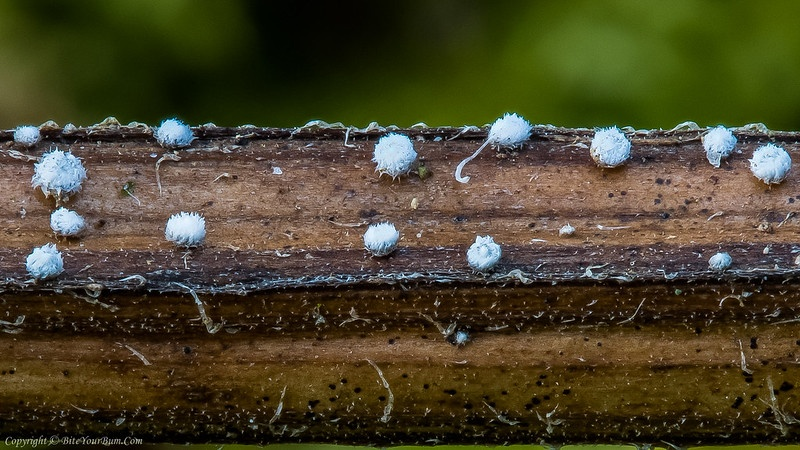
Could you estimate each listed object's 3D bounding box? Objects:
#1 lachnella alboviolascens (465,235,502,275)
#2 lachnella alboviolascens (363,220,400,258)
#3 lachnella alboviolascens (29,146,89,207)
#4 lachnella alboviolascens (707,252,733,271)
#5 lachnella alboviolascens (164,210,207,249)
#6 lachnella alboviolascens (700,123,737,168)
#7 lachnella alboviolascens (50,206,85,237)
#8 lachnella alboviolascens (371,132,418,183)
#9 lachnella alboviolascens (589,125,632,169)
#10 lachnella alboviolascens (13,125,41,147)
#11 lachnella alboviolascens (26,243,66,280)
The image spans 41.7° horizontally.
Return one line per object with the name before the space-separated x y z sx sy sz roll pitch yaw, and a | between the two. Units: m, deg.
lachnella alboviolascens | 0.140 0.045 1.756 0.068 0.056 0.026 3 -28 0
lachnella alboviolascens | -0.033 0.023 1.755 0.066 0.053 0.031 -12 -31 -9
lachnella alboviolascens | -0.587 -0.089 1.801 0.106 0.041 0.104 25 24 -15
lachnella alboviolascens | 0.533 0.061 1.752 0.040 0.029 0.013 3 9 8
lachnella alboviolascens | -0.366 -0.002 1.776 0.076 0.023 0.062 -7 42 -2
lachnella alboviolascens | 0.545 -0.133 1.793 0.062 0.069 0.026 -1 10 -18
lachnella alboviolascens | -0.559 -0.005 1.771 0.056 0.049 0.018 2 10 6
lachnella alboviolascens | -0.010 -0.116 1.836 0.083 0.077 0.048 -38 -9 -2
lachnella alboviolascens | 0.356 -0.132 1.782 0.078 0.061 0.028 -14 -10 0
lachnella alboviolascens | -0.647 -0.154 1.819 0.044 0.020 0.035 -5 50 -3
lachnella alboviolascens | -0.586 0.060 1.749 0.063 0.058 0.020 37 -17 6
